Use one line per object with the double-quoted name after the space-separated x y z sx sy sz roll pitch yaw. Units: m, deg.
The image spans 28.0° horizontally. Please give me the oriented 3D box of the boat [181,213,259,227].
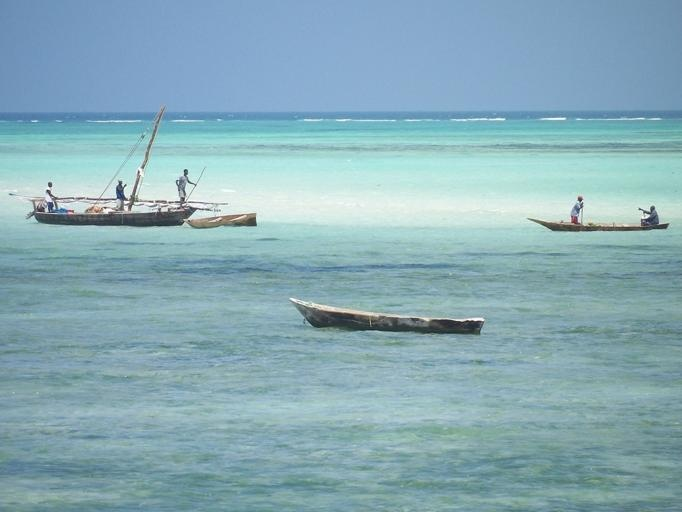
-5.487 -1.478 58.146 3.874 0.458 0.816 -2 -3 -9 "boat"
